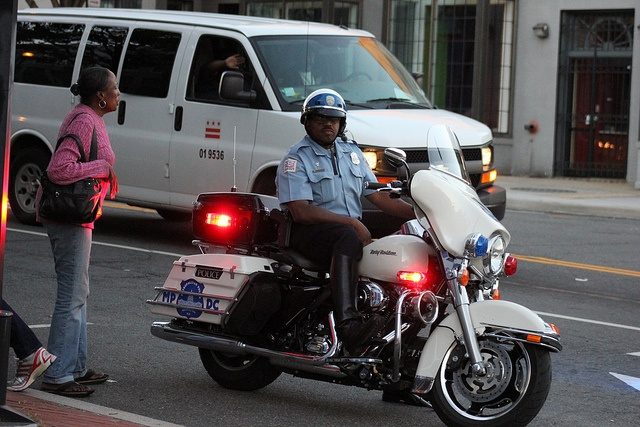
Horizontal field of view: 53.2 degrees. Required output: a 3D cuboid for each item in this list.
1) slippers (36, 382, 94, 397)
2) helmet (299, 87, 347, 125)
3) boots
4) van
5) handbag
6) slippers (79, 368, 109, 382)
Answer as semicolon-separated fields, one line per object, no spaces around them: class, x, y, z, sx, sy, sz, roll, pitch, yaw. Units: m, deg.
slippers;-1.922;1.353;4.887;0.369;0.121;0.143;2;7;5
helmet;0.040;-0.857;5.100;0.251;0.215;0.275;5;9;-7
boots;0.265;0.637;4.502;0.422;0.646;0.222;6;4;7
van;-1.526;-1.795;10.681;7.517;3.197;3.977;2;2;35
handbag;-1.880;-0.347;4.927;0.463;0.871;0.269;4;4;-20
slippers;-1.800;1.329;5.190;0.239;0.098;0.087;-2;7;-7
